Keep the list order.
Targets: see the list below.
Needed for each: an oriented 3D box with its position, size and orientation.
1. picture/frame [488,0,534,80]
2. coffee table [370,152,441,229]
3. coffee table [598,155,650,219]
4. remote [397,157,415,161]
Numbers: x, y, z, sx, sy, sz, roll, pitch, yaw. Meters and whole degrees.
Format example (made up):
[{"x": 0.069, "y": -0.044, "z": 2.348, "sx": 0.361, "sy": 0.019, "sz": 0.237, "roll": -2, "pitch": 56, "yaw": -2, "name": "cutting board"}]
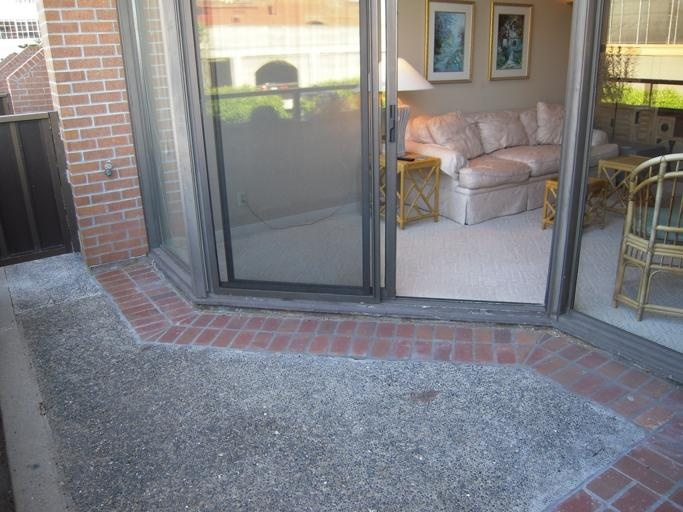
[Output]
[{"x": 2.105, "y": -2.763, "z": 5.768, "sx": 0.876, "sy": 0.940, "sz": 0.040, "roll": -19, "pitch": 30, "yaw": -33, "name": "picture/frame"}, {"x": 0.756, "y": -0.674, "z": 4.833, "sx": 0.714, "sy": 0.877, "sz": 0.912, "roll": -4, "pitch": 11, "yaw": -18, "name": "coffee table"}, {"x": 1.581, "y": -0.397, "z": 2.641, "sx": 0.237, "sy": 0.249, "sz": 0.275, "roll": 14, "pitch": 12, "yaw": 37, "name": "coffee table"}, {"x": 0.626, "y": -0.946, "z": 4.478, "sx": 0.150, "sy": 0.010, "sz": 0.188, "roll": 1, "pitch": 24, "yaw": 6, "name": "remote"}]
